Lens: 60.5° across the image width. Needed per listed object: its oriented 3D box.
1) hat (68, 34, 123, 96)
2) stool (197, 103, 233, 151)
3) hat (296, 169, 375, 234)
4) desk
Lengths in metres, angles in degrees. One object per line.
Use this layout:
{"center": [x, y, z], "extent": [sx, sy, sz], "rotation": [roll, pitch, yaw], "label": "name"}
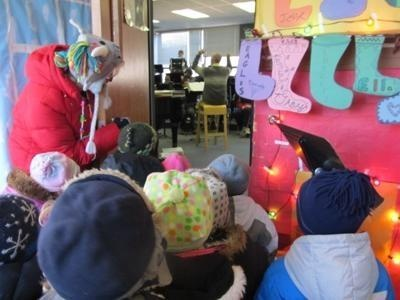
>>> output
{"center": [-0.486, -0.409, 1.580], "extent": [0.192, 0.233, 0.239], "rotation": [36, 37, 19], "label": "hat"}
{"center": [0.192, -0.367, 5.128], "extent": [0.449, 0.600, 0.463], "rotation": [4, 10, 27], "label": "stool"}
{"center": [0.481, 0.144, 1.242], "extent": [0.198, 0.251, 0.233], "rotation": [-4, 9, -21], "label": "hat"}
{"center": [-0.411, -0.440, 5.102], "extent": [0.585, 0.824, 0.587], "rotation": [-1, 9, -4], "label": "desk"}
